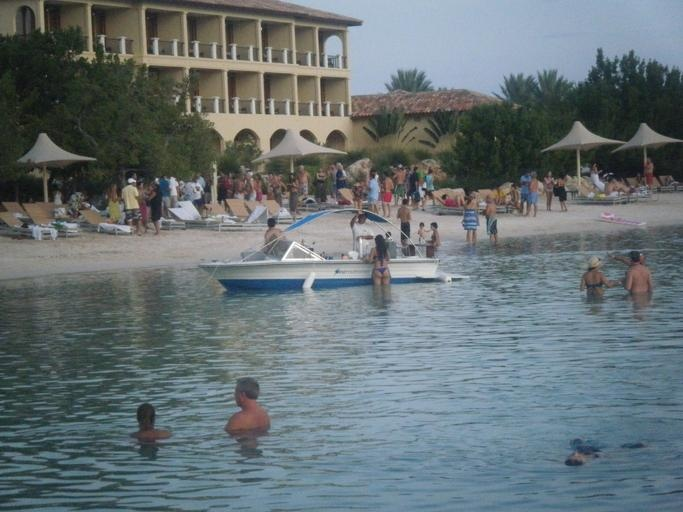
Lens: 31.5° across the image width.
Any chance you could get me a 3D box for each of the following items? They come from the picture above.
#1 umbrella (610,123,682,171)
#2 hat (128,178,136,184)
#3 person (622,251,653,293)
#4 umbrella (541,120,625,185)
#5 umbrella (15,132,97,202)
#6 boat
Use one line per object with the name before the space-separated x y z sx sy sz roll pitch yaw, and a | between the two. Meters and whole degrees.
umbrella | 13.183 -5.089 52.858 2.642 1.665 2.465 -3 -1 -32
hat | -6.693 -2.379 38.393 0.196 0.105 0.287 4 10 9
person | 6.537 0.356 26.668 0.625 0.982 0.879 2 13 11
umbrella | 9.889 -4.804 50.510 3.023 2.230 3.450 0 6 10
umbrella | -9.656 -2.854 39.943 2.352 1.480 2.392 3 8 37
boat | -0.126 0.093 29.933 6.795 2.018 2.195 -3 7 -19
